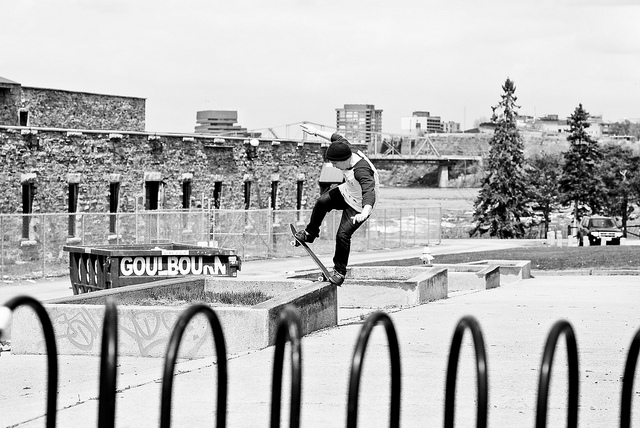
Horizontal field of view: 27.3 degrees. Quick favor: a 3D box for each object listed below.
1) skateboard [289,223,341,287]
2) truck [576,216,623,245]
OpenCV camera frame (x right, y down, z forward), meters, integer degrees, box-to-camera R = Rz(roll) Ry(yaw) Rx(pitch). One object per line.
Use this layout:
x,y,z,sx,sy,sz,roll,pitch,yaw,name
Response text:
-0.210,1.290,36.572,0.236,1.673,0.358,-34,-7,14,skateboard
12.557,1.010,59.070,1.788,1.199,3.057,1,3,8,truck
